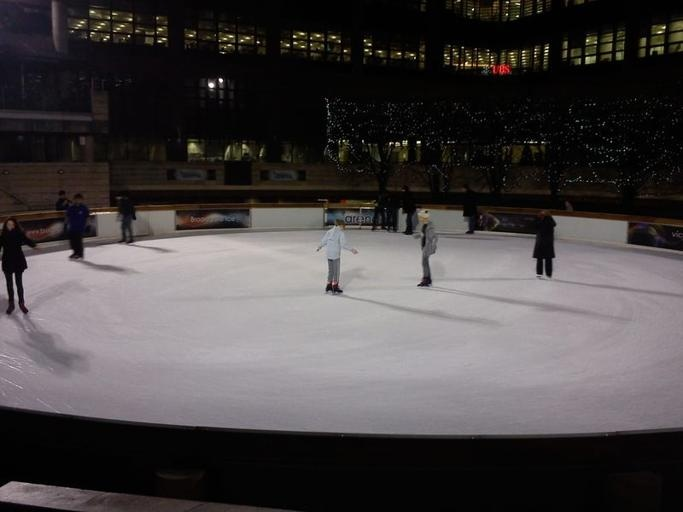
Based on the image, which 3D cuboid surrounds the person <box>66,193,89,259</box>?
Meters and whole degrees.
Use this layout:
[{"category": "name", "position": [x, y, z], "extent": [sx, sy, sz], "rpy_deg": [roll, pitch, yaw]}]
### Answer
[{"category": "person", "position": [-8.193, -0.924, 18.212], "extent": [0.604, 2.091, 1.509], "rpy_deg": [-5, 12, -25]}]

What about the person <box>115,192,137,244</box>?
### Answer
[{"category": "person", "position": [-8.085, -1.413, 22.049], "extent": [0.552, 1.782, 1.543], "rpy_deg": [-4, 12, -21]}]

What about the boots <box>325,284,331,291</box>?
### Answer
[{"category": "boots", "position": [-0.307, 0.794, 14.592], "extent": [0.127, 0.242, 0.175], "rpy_deg": [0, 6, -6]}]
